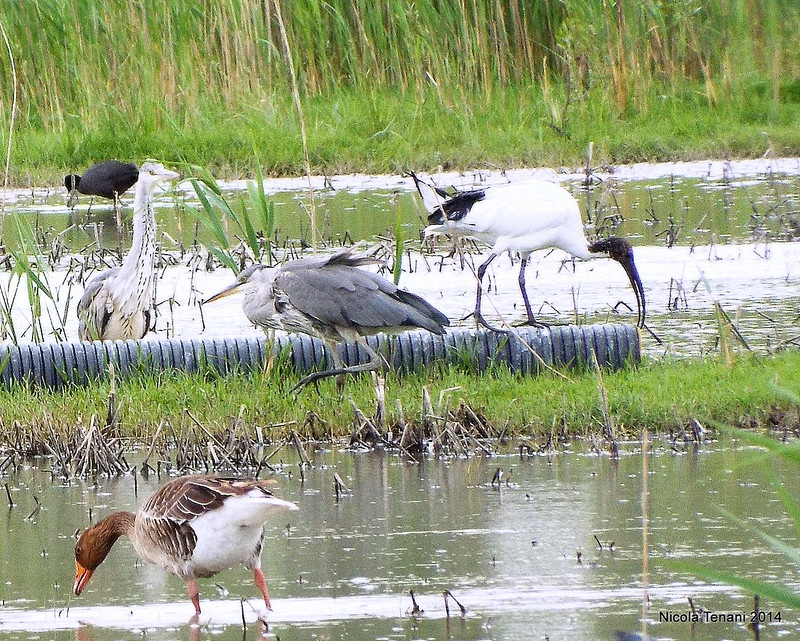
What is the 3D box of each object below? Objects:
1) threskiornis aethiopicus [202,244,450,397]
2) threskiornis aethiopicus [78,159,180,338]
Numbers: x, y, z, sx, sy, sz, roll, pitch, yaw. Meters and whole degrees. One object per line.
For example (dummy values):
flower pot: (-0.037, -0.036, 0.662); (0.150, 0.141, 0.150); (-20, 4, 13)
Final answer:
threskiornis aethiopicus: (-0.420, 0.006, 8.682); (1.485, 0.977, 0.482); (-5, -3, -13)
threskiornis aethiopicus: (-1.950, -0.458, 9.589); (0.815, 1.252, 0.507); (-10, 10, -15)
